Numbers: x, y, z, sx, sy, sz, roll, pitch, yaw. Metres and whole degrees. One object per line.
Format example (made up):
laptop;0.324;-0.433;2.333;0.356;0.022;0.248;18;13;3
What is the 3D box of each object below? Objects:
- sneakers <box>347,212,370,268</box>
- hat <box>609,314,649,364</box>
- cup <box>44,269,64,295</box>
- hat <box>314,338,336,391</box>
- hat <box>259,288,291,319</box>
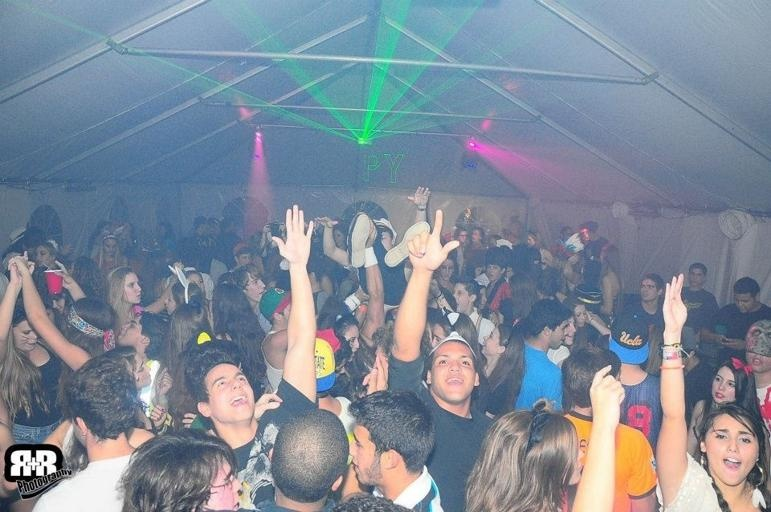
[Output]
sneakers;-0.292;-0.193;7.292;0.246;0.596;0.238;9;-4;-37
hat;2.473;0.846;6.479;0.480;0.489;0.275;2;-3;-14
cup;-3.858;0.298;7.408;0.266;0.285;0.267;0;-6;0
hat;-0.569;1.018;5.875;0.180;0.506;0.271;2;-3;-6
hat;-1.262;0.548;7.241;0.171;0.348;0.218;36;29;-1
